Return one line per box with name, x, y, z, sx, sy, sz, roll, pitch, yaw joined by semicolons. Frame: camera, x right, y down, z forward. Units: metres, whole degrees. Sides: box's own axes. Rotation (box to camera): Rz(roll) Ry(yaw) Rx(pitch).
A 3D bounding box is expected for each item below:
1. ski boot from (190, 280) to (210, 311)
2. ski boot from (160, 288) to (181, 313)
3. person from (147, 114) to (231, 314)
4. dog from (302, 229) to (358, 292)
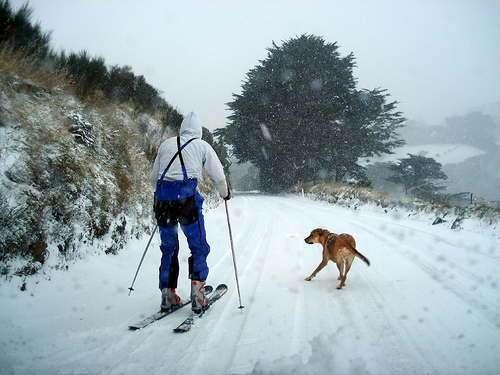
ski boot;-0.757;1.609;5.146;0.154;0.264;0.520;-2;5;7
ski boot;-1.207;1.654;5.440;0.178;0.443;0.585;-5;-7;11
person;-0.974;0.510;5.302;1.107;2.836;0.569;2;0;-11
dog;1.440;1.237;6.171;0.414;1.029;1.174;2;0;-12
